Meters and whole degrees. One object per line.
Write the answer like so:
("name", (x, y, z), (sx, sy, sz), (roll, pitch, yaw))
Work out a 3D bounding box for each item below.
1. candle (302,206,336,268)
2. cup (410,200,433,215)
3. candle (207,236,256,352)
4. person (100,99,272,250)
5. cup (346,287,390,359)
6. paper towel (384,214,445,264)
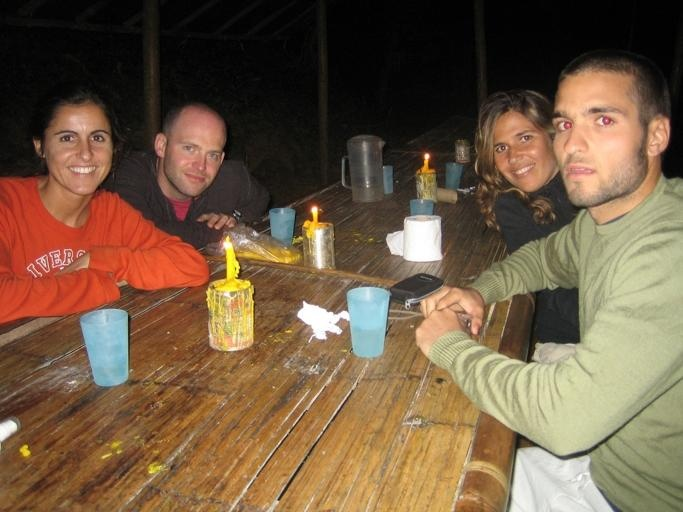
("candle", (-0.098, -0.067, 2.168), (0.128, 0.266, 0.131), (1, 11, 20))
("cup", (0.411, -0.250, 2.664), (0.095, 0.066, 0.094), (-3, 14, 1))
("candle", (-0.328, 0.117, 1.545), (0.134, 0.297, 0.129), (-8, 13, -38))
("person", (-0.842, -0.452, 2.936), (0.676, 0.853, 0.618), (-11, 27, -29))
("cup", (0.068, 0.197, 1.544), (0.123, 0.195, 0.126), (0, 11, 0))
("paper towel", (0.333, -0.089, 2.299), (0.182, 0.172, 0.304), (-5, 10, -15))
